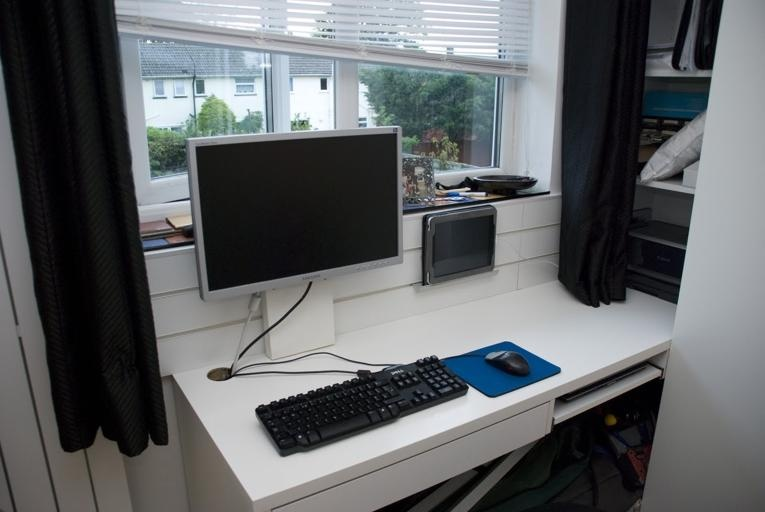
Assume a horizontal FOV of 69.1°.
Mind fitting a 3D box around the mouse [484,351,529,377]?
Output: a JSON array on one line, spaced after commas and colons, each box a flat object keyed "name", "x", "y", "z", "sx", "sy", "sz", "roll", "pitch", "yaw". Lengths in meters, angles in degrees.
[{"name": "mouse", "x": 0.430, "y": 0.365, "z": 1.908, "sx": 0.128, "sy": 0.042, "sz": 0.074, "roll": 21, "pitch": 29, "yaw": 41}]

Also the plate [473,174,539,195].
[{"name": "plate", "x": 0.553, "y": -0.326, "z": 2.482, "sx": 0.270, "sy": 0.080, "sz": 0.220, "roll": -22, "pitch": 25, "yaw": -40}]

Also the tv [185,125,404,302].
[{"name": "tv", "x": -0.298, "y": -0.144, "z": 1.835, "sx": 0.601, "sy": 0.429, "sz": 0.042, "roll": -9, "pitch": 13, "yaw": -28}]

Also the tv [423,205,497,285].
[{"name": "tv", "x": 0.322, "y": -0.043, "z": 2.283, "sx": 0.366, "sy": 0.300, "sz": 0.052, "roll": -12, "pitch": 19, "yaw": -32}]

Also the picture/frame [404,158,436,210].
[{"name": "picture/frame", "x": 0.149, "y": -0.298, "z": 2.275, "sx": 0.174, "sy": 0.188, "sz": 0.055, "roll": -4, "pitch": 5, "yaw": -27}]
